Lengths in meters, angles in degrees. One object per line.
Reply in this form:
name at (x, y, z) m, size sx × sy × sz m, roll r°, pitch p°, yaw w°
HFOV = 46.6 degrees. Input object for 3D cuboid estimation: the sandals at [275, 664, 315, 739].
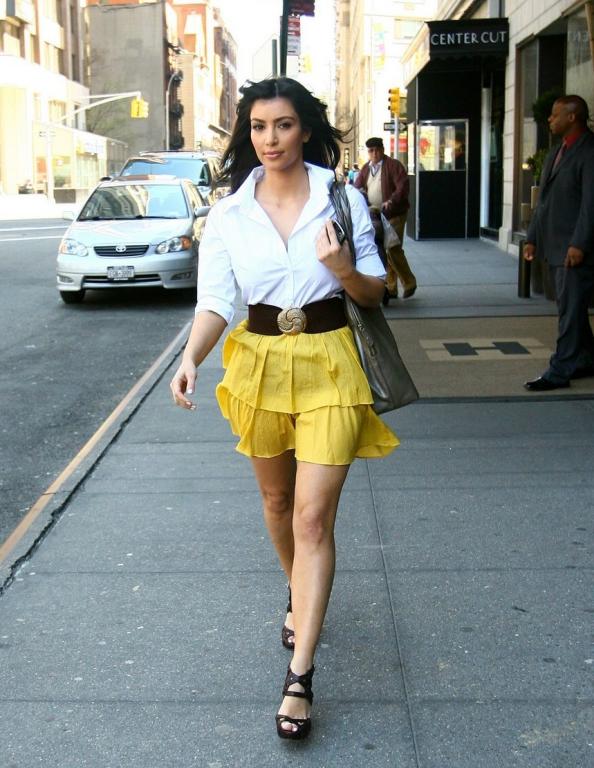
sandals at (0.004, 0.776, 1.691) m, size 0.067 × 0.079 × 0.197 m, roll 0°, pitch 19°, yaw 6°

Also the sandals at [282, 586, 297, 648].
sandals at (-0.034, 0.750, 2.263) m, size 0.053 × 0.213 × 0.067 m, roll -5°, pitch -15°, yaw -4°

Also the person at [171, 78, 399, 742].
person at (-0.045, 0.014, 1.960) m, size 0.614 × 1.749 × 0.871 m, roll 3°, pitch 11°, yaw 21°

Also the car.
car at (-2.812, -2.559, 11.701) m, size 1.979 × 1.461 × 3.236 m, roll -1°, pitch 5°, yaw 5°

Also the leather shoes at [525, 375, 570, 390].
leather shoes at (2.112, -0.013, 5.865) m, size 0.371 × 0.130 × 0.142 m, roll 2°, pitch 0°, yaw 2°
